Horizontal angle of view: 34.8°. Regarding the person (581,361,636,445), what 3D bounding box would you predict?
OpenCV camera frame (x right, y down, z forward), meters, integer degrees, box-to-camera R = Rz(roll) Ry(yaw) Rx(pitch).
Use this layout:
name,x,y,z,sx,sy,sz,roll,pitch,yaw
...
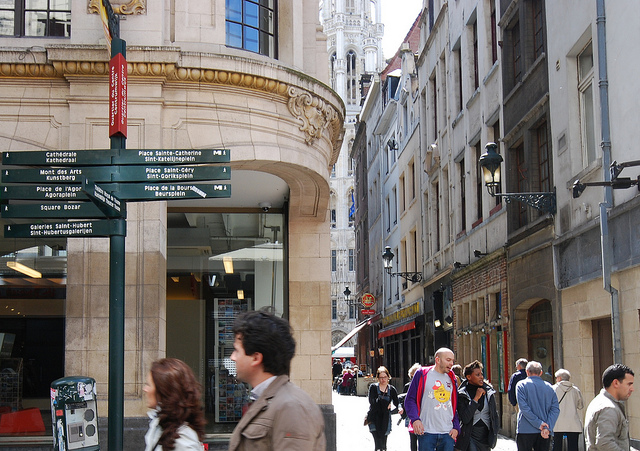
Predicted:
name,x,y,z,sx,sy,sz,roll,pitch,yaw
person,4.271,2.627,15.052,0.733,1.176,0.438,-6,-15,20

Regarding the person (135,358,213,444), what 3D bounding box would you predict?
name,x,y,z,sx,sy,sz,roll,pitch,yaw
person,-1.773,2.238,13.067,0.819,1.193,1.138,-2,-6,21

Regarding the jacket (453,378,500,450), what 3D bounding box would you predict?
name,x,y,z,sx,sy,sz,roll,pitch,yaw
jacket,2.767,3.345,18.214,0.867,1.250,0.540,-1,-14,0

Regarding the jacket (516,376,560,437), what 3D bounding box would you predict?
name,x,y,z,sx,sy,sz,roll,pitch,yaw
jacket,3.947,3.235,18.471,0.741,1.048,0.405,-3,-14,7
